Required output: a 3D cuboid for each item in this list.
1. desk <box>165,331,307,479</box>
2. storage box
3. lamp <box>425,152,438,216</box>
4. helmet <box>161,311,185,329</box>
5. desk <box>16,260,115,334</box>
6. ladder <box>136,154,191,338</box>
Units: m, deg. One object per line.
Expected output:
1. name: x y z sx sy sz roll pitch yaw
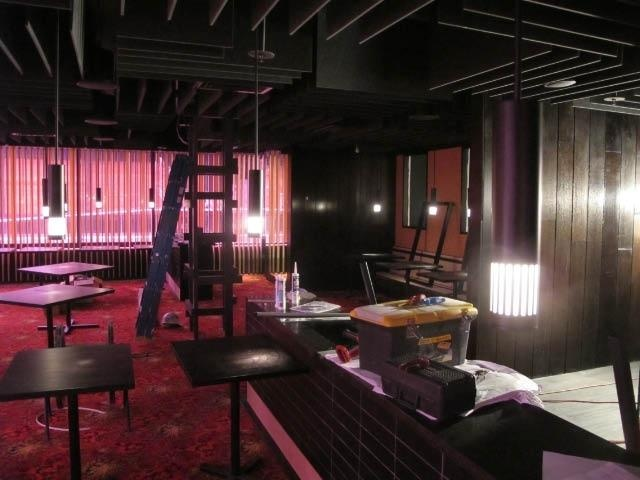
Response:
1. desk: -0.722 1.448 4.352 1.134 1.109 1.137 0 1 -22
2. storage box: 0.679 0.655 3.552 0.826 0.493 0.528 -3 9 -25
3. lamp: 2.220 -1.026 9.934 0.207 0.942 0.210 5 -7 -4
4. helmet: -2.461 1.321 8.479 0.343 0.205 0.333 -2 8 -15
5. desk: -4.231 0.981 8.688 1.171 0.991 1.178 9 -1 28
6. ladder: -3.083 0.134 9.960 0.374 3.840 0.259 6 -23 6
